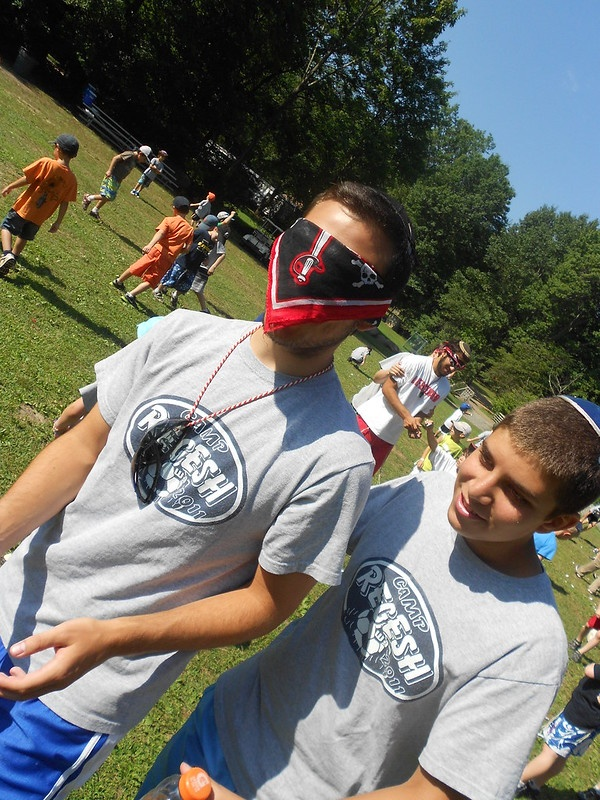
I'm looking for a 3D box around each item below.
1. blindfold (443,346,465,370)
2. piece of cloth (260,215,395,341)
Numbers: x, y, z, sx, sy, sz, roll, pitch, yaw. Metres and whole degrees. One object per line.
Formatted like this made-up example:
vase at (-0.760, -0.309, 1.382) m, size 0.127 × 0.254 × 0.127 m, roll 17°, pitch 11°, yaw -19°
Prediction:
blindfold at (1.538, -0.460, 5.838) m, size 0.245 × 0.073 × 0.235 m, roll 37°, pitch 43°, yaw -48°
piece of cloth at (0.079, -0.301, 1.696) m, size 0.338 × 0.262 × 0.329 m, roll 23°, pitch 5°, yaw -40°
